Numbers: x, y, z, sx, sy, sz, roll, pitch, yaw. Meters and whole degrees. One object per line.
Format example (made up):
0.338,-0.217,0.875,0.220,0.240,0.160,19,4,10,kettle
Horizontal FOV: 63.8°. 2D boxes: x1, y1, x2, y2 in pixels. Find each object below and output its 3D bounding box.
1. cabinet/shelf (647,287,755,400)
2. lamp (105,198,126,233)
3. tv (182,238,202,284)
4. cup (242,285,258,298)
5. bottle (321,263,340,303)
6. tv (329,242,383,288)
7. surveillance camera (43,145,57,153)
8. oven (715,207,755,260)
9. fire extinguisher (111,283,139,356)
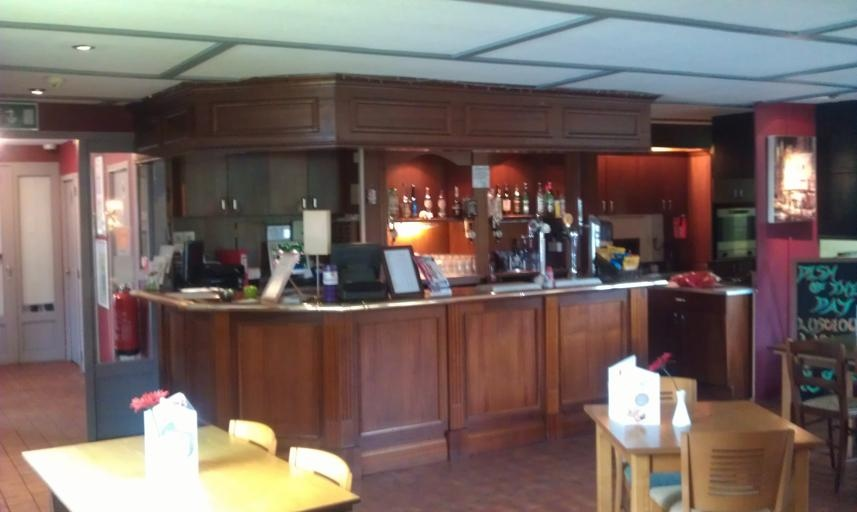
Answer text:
3.449,1.082,8.517,0.631,1.357,1.564,2,-1,-26,cabinet/shelf
-3.778,-0.496,8.288,0.227,0.376,0.057,-8,12,-32,lamp
-2.702,0.085,7.828,0.258,0.450,0.477,2,5,-16,tv
-1.889,0.377,7.233,0.134,0.120,0.127,1,3,0,cup
-0.968,0.268,6.934,0.127,0.366,0.252,4,11,27,bottle
-0.740,0.081,7.111,0.428,0.513,0.459,0,-5,-14,tv
-6.070,-1.696,11.011,0.129,0.083,0.130,9,12,37,surveillance camera
4.470,-0.355,10.222,0.634,0.724,0.438,-4,6,-13,oven
-3.629,0.788,8.239,0.292,0.828,0.178,-5,10,-18,fire extinguisher
